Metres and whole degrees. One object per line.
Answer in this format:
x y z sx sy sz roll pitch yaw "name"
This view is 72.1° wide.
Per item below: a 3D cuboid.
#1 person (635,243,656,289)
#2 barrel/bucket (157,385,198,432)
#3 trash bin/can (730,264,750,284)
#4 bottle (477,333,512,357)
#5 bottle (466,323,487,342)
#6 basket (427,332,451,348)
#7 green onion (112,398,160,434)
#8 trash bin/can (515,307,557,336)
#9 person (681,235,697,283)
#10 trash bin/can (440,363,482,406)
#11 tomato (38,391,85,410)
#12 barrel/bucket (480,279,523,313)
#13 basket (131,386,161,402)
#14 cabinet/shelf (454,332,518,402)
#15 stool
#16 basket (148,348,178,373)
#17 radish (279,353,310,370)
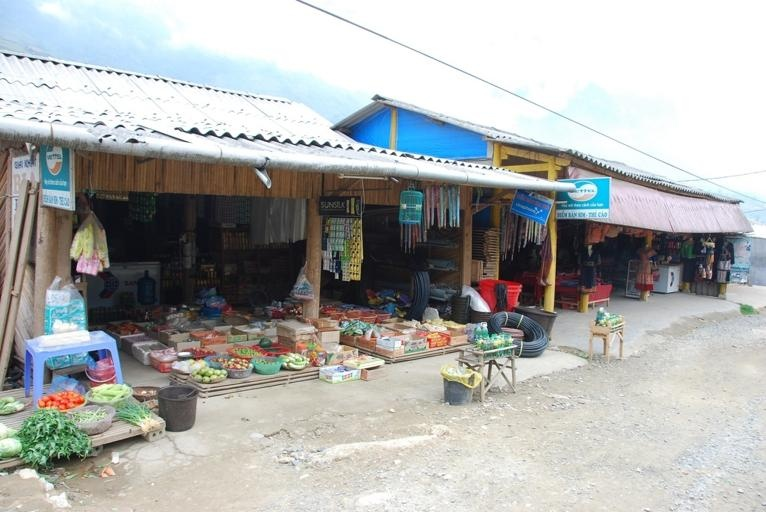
9.431 0.467 18.929 0.558 1.650 0.705 9 12 21 "person"
-2.927 2.183 7.679 0.608 0.397 0.600 1 -2 0 "barrel/bucket"
17.308 0.833 25.607 1.017 0.877 0.847 2 10 14 "trash bin/can"
1.954 1.523 9.170 0.408 0.174 0.483 1 3 27 "bottle"
1.918 1.581 10.839 0.490 0.269 0.474 -8 16 2 "bottle"
1.197 1.819 11.477 0.359 0.117 0.338 -1 1 -42 "basket"
-3.401 2.152 7.246 0.357 0.212 0.580 5 4 -41 "green onion"
3.587 1.432 12.469 0.814 0.475 0.777 20 -9 -13 "trash bin/can"
12.686 0.135 21.931 0.638 1.825 0.312 5 -2 -3 "person"
1.225 2.214 8.941 0.677 0.573 0.721 16 -21 -24 "trash bin/can"
-4.343 1.955 7.112 0.307 0.095 0.289 3 1 -10 "tomato"
2.960 1.005 13.732 1.147 0.783 1.141 2 1 0 "barrel/bucket"
-3.652 2.110 8.123 0.379 0.112 0.356 3 -1 -6 "basket"
1.929 1.844 9.280 0.888 0.588 0.493 -6 6 36 "cabinet/shelf"
-4.550 1.580 7.632 1.200 0.823 1.118 4 -8 -35 "stool"
-3.968 1.881 9.562 0.395 0.311 0.528 -4 13 -35 "basket"
-1.626 1.900 9.526 0.321 0.123 0.302 3 0 23 "radish"
